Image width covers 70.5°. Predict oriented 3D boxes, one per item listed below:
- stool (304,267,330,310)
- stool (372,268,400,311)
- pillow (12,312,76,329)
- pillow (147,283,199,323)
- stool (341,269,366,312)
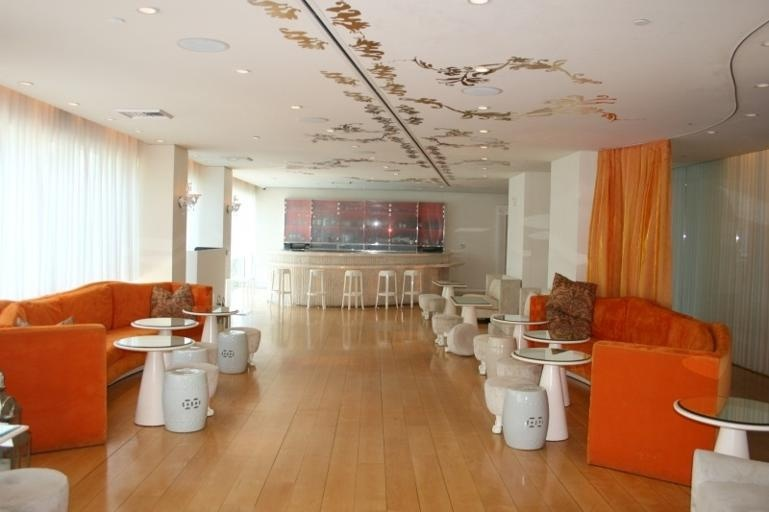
[{"bbox_3d":[-1.604,0.754,12.833,0.508,0.923,0.348,2,8,3],"label":"stool"},{"bbox_3d":[0.067,0.801,13.200,0.930,1.206,0.874,-1,1,-6],"label":"stool"},{"bbox_3d":[-3.555,0.685,5.545,0.345,0.106,0.313,0,4,-12],"label":"pillow"},{"bbox_3d":[-3.064,0.704,7.866,0.554,0.461,0.193,-7,-12,-22],"label":"pillow"},{"bbox_3d":[-0.709,0.777,12.847,0.559,0.924,0.563,2,7,-2],"label":"stool"}]
